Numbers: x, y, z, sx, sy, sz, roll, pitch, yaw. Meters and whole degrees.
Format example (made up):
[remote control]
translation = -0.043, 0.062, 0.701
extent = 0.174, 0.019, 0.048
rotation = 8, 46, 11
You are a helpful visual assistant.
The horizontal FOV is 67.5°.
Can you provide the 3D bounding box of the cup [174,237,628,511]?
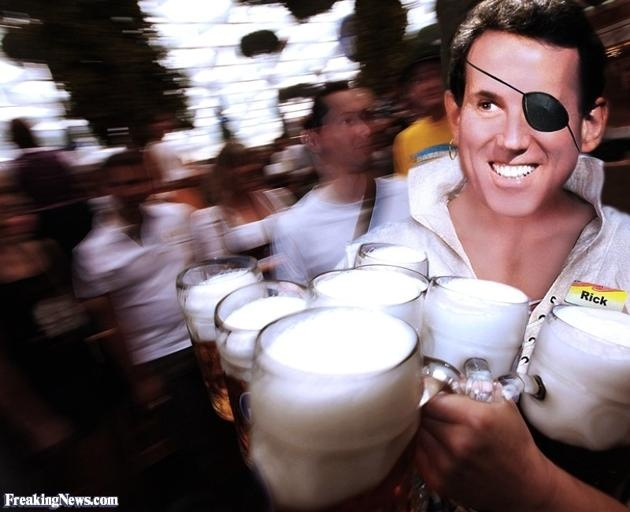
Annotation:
[cup]
translation = 0.079, 0.157, 0.804
extent = 0.454, 0.353, 0.328
rotation = -4, 9, 7
